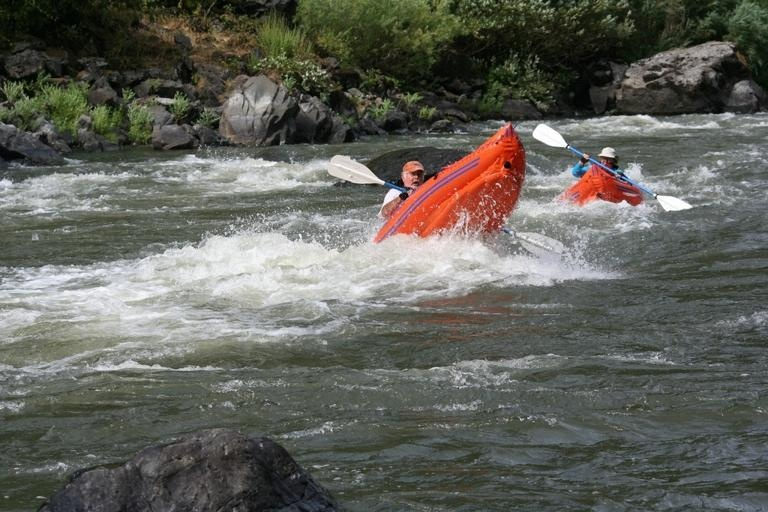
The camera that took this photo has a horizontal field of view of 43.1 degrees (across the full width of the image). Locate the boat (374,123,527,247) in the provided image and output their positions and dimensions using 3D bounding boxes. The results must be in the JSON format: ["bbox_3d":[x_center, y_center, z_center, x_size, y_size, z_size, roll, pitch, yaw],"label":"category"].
[{"bbox_3d":[1.151,-1.045,15.491,1.284,2.720,0.736,43,22,-48],"label":"boat"}]

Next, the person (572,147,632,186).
[{"bbox_3d":[4.168,-1.698,19.052,1.349,0.386,1.275,19,-5,-11],"label":"person"}]

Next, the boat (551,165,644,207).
[{"bbox_3d":[4.059,-1.316,17.980,1.452,0.743,0.476,2,13,7],"label":"boat"}]
